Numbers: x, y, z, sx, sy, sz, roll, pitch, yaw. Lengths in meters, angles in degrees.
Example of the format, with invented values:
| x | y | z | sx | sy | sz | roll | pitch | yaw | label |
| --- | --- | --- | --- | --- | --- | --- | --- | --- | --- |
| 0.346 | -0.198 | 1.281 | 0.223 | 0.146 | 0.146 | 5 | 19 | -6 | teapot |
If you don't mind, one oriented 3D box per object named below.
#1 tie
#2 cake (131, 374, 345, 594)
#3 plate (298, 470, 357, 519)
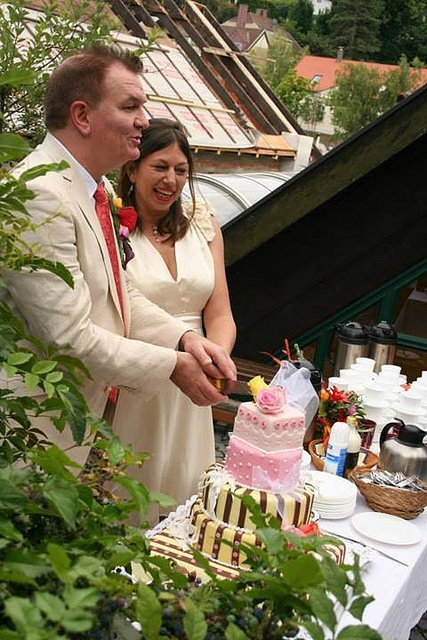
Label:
| x | y | z | sx | sy | sz | roll | pitch | yaw | label |
| --- | --- | --- | --- | --- | --- | --- | --- | --- | --- |
| -0.446 | -0.249 | 1.951 | 0.137 | 0.489 | 0.173 | -5 | 24 | -23 | tie |
| 0.051 | 0.531 | 1.704 | 0.485 | 0.615 | 0.546 | 12 | 2 | 29 | cake |
| 0.493 | 0.722 | 2.119 | 0.276 | 0.097 | 0.260 | 1 | 13 | -2 | plate |
